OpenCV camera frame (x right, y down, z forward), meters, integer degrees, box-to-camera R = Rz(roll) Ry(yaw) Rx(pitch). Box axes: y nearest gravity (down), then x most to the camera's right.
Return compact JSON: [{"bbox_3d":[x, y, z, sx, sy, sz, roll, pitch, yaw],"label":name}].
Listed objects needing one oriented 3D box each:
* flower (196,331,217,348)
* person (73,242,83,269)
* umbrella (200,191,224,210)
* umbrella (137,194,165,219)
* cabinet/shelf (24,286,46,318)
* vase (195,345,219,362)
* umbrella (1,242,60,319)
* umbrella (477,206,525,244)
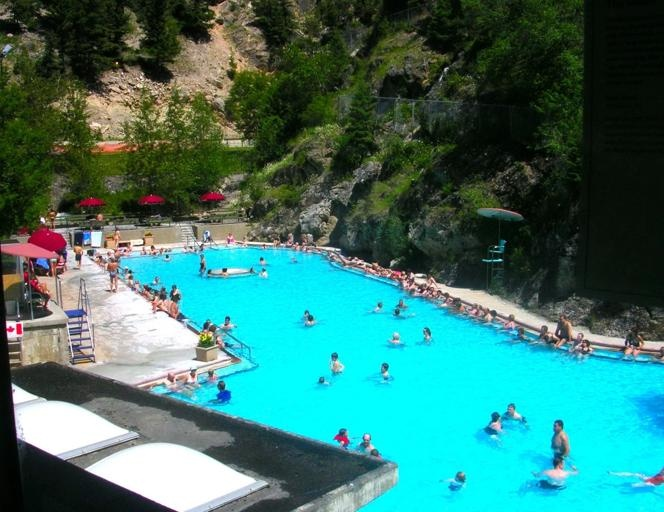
[{"bbox_3d":[-3.702,2.420,20.541,0.417,0.522,0.485,5,11,7],"label":"flower"},{"bbox_3d":[-12.401,0.054,34.099,0.274,1.097,1.078,-7,15,-19],"label":"person"},{"bbox_3d":[-8.946,-3.925,51.661,1.623,1.642,1.762,1,20,-3],"label":"umbrella"},{"bbox_3d":[-13.167,-3.568,50.583,1.437,1.755,1.570,3,19,5],"label":"umbrella"},{"bbox_3d":[-8.313,1.319,19.471,0.556,1.022,0.552,2,15,-5],"label":"cabinet/shelf"},{"bbox_3d":[-3.629,2.837,20.353,0.452,0.318,0.470,5,4,40],"label":"vase"},{"bbox_3d":[-8.636,0.708,19.980,1.951,2.193,1.703,-1,4,-34],"label":"umbrella"},{"bbox_3d":[6.301,-1.305,26.359,1.317,1.204,1.503,4,2,-1],"label":"umbrella"}]
